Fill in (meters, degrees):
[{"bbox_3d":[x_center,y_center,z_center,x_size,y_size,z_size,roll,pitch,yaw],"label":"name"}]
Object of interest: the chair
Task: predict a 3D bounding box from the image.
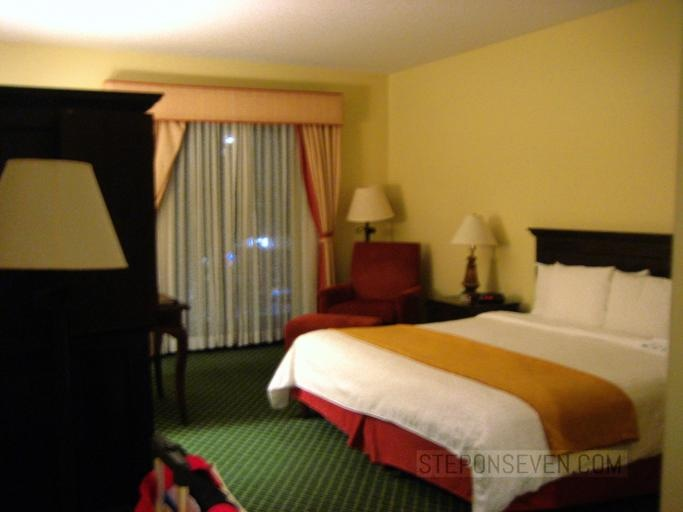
[{"bbox_3d":[0.223,0.283,3.678,0.726,0.791,0.733,0,2,-13],"label":"chair"}]
